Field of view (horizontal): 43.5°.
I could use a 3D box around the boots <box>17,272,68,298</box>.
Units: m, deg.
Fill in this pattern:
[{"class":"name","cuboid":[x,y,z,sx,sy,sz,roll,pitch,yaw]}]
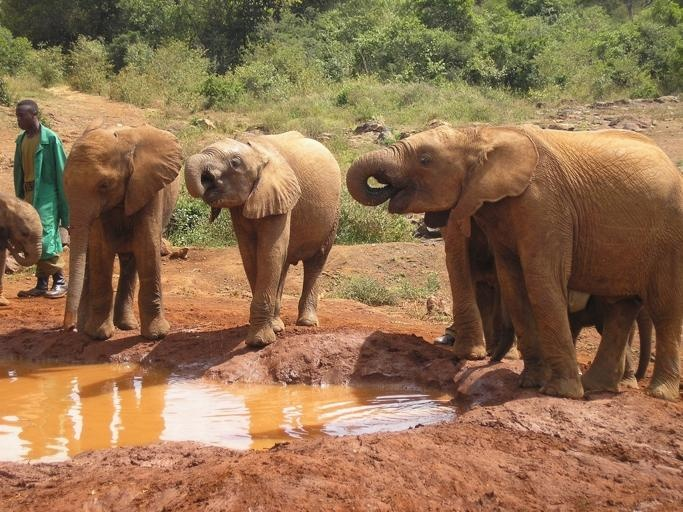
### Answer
[{"class":"boots","cuboid":[-4.020,0.404,11.701,0.759,0.554,0.291,1,-1,-8]}]
